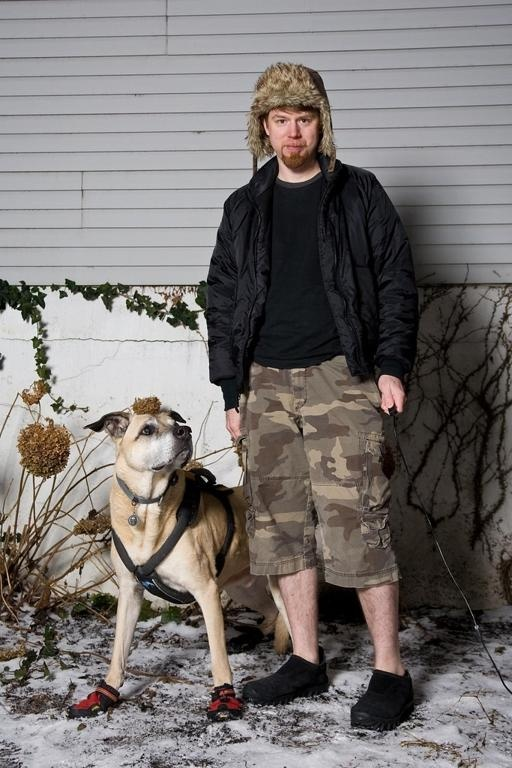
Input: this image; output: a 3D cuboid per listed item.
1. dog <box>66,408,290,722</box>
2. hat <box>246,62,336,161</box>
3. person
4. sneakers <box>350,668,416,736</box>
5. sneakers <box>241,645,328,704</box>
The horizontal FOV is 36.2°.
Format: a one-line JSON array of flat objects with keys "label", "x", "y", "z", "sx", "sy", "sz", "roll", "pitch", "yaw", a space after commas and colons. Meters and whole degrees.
[{"label": "dog", "x": -0.188, "y": 0.703, "z": 3.425, "sx": 0.663, "sy": 1.169, "sz": 1.598, "roll": -6, "pitch": -10, "yaw": 21}, {"label": "hat", "x": 0.181, "y": -1.005, "z": 2.935, "sx": 0.307, "sy": 0.375, "sz": 0.336, "roll": -26, "pitch": 37, "yaw": -37}, {"label": "person", "x": 0.184, "y": -0.001, "z": 2.901, "sx": 0.809, "sy": 2.358, "sz": 0.381, "roll": -1, "pitch": -1, "yaw": 10}, {"label": "sneakers", "x": 0.450, "y": 1.087, "z": 2.737, "sx": 0.154, "sy": 0.156, "sz": 0.362, "roll": 1, "pitch": 1, "yaw": 31}, {"label": "sneakers", "x": 0.113, "y": 1.105, "z": 2.946, "sx": 0.415, "sy": 0.160, "sz": 0.141, "roll": 13, "pitch": -17, "yaw": -43}]
